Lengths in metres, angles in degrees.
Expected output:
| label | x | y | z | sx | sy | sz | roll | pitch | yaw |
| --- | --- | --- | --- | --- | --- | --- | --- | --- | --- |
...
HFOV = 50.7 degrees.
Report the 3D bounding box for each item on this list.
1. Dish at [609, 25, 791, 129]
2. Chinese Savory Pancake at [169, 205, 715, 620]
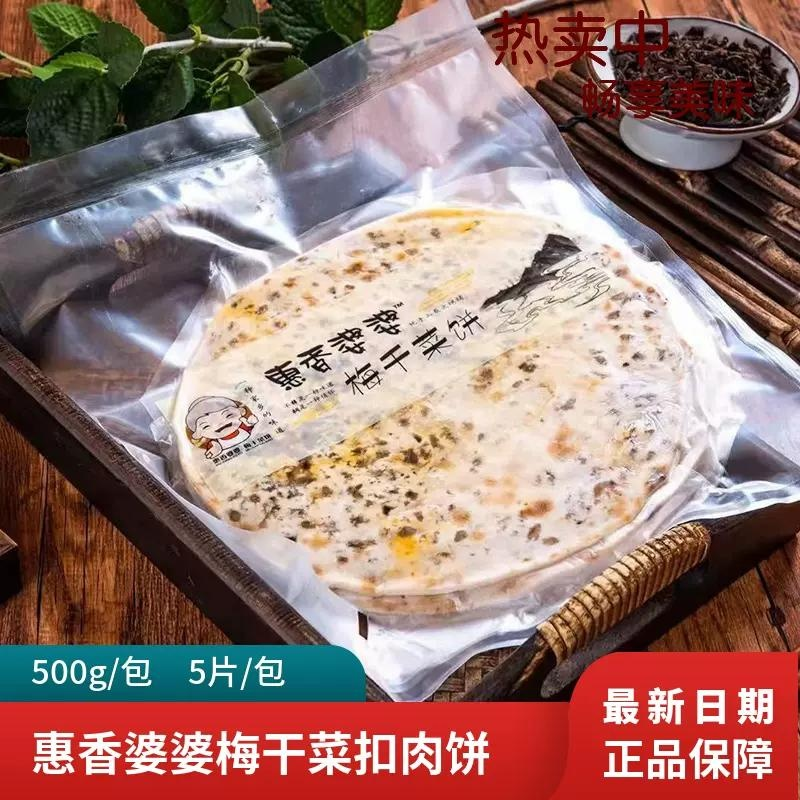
| label | x | y | z | sx | sy | sz | roll | pitch | yaw |
| --- | --- | --- | --- | --- | --- | --- | --- | --- | --- |
| Dish | 0.273 | -0.308 | 0.851 | 0.150 | 0.043 | 0.149 | -36 | 60 | -29 |
| Chinese Savory Pancake | 0.035 | -0.012 | 0.595 | 0.332 | 0.031 | 0.352 | 38 | 65 | 21 |
